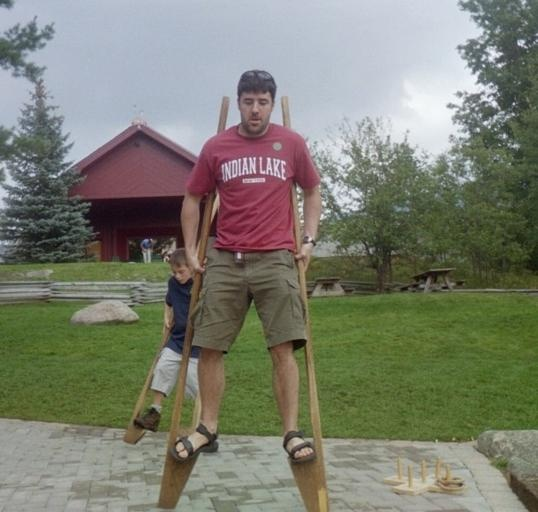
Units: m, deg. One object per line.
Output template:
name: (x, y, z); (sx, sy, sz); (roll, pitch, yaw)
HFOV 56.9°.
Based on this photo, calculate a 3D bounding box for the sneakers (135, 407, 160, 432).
sneakers: (-1.065, 1.438, 4.316); (0.208, 0.250, 0.194); (0, -1, -24)

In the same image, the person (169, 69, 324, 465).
person: (-0.139, 0.019, 2.967); (0.871, 2.261, 0.717); (-1, -1, 8)

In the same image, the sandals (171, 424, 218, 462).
sandals: (-0.424, 1.050, 2.861); (0.274, 0.179, 0.143); (-16, 38, -29)

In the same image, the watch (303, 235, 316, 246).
watch: (0.257, -0.094, 3.097); (0.062, 0.052, 0.061); (4, -14, -4)

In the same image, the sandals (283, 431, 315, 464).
sandals: (0.164, 1.015, 2.634); (0.146, 0.142, 0.194); (-1, -1, -12)
